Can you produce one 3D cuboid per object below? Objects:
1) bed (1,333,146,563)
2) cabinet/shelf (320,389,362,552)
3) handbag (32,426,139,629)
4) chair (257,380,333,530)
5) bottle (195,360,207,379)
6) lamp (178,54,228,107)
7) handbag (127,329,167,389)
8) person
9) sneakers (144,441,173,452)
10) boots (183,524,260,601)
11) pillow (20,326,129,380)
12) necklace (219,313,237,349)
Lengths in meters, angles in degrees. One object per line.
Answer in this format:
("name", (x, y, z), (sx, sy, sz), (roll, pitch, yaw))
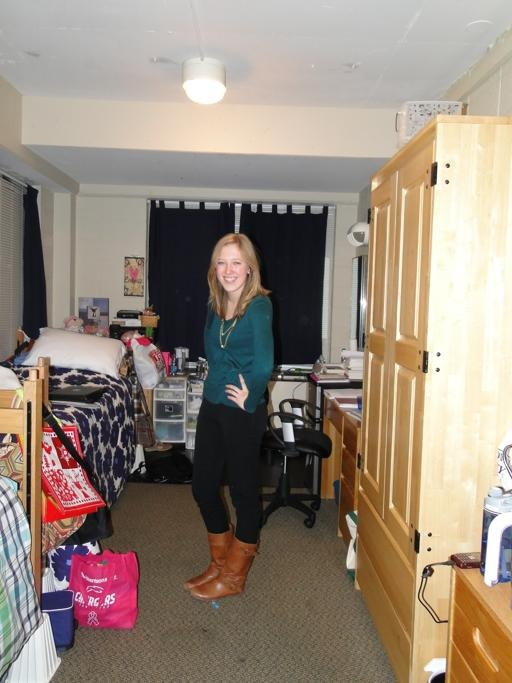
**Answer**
("bed", (-0.849, 0.557, 2.593), (0.699, 0.352, 1.143), (1, 31, -13))
("cabinet/shelf", (0.443, 0.670, 2.717), (0.200, 0.434, 0.699), (1, 8, 4))
("handbag", (-0.591, 0.666, 1.866), (0.323, 0.817, 0.424), (1, 4, -12))
("chair", (0.234, 0.670, 3.290), (0.623, 1.025, 0.582), (1, 4, -1))
("bottle", (-0.451, 0.255, 4.230), (0.127, 0.183, 0.067), (2, -14, 0))
("lamp", (-0.289, -1.370, 2.728), (0.200, 0.126, 0.204), (2, 4, 8))
("handbag", (-0.876, 0.152, 4.073), (0.125, 0.313, 0.347), (-24, 33, 13))
("person", (-0.094, 0.323, 2.086), (0.406, 1.486, 0.201), (5, 5, 40))
("sneakers", (-0.778, 0.839, 4.177), (0.149, 0.055, 0.088), (3, 1, -23))
("boots", (-0.185, 0.934, 2.207), (0.335, 0.368, 0.206), (13, -11, -11))
("pillow", (-1.184, 0.059, 3.380), (0.516, 0.142, 0.457), (12, 25, -5))
("necklace", (-0.115, -0.031, 2.020), (0.024, 0.127, 0.119), (-1, 5, -31))
